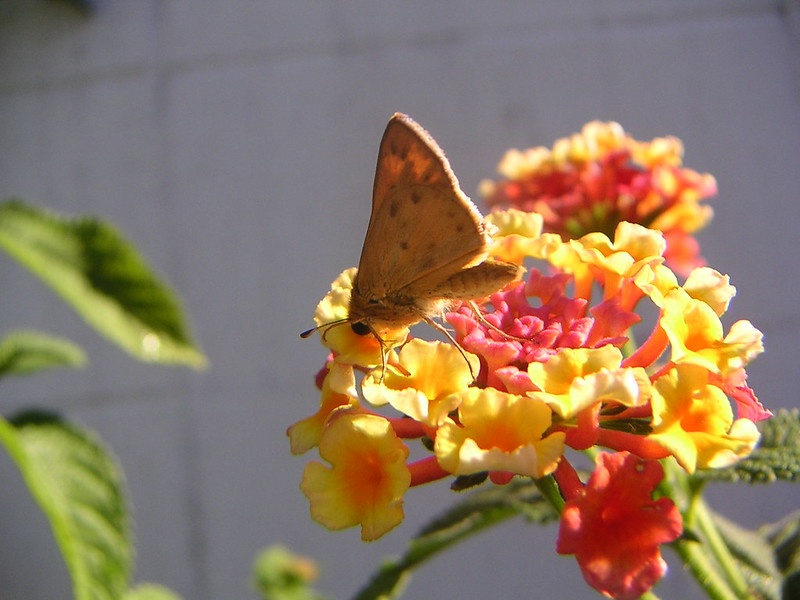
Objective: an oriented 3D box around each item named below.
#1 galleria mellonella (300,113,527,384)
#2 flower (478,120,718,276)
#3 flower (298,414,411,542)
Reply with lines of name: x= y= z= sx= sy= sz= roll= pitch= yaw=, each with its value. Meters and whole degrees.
galleria mellonella: x=0.042 y=-0.094 z=1.621 sx=0.264 sy=0.236 sz=0.475 roll=2 pitch=90 yaw=-13
flower: x=0.374 y=-0.202 z=2.015 sx=0.381 sy=0.402 sz=0.248 roll=12 pitch=90 yaw=-22
flower: x=-0.064 y=0.259 z=1.519 sx=0.158 sy=0.089 sz=0.178 roll=15 pitch=79 yaw=1
